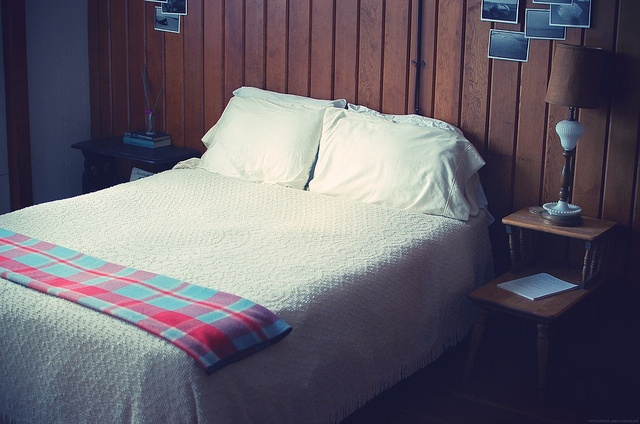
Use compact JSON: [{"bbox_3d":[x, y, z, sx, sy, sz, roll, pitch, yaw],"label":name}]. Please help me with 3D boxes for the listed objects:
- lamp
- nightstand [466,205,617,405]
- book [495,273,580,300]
[{"bbox_3d":[1.314,-0.404,2.666,0.272,0.906,0.339,8,17,28],"label":"lamp"},{"bbox_3d":[1.179,0.455,2.751,0.794,0.732,0.534,-14,16,-39],"label":"nightstand"},{"bbox_3d":[1.127,0.384,2.635,0.378,0.040,0.208,-6,17,-23],"label":"book"}]
